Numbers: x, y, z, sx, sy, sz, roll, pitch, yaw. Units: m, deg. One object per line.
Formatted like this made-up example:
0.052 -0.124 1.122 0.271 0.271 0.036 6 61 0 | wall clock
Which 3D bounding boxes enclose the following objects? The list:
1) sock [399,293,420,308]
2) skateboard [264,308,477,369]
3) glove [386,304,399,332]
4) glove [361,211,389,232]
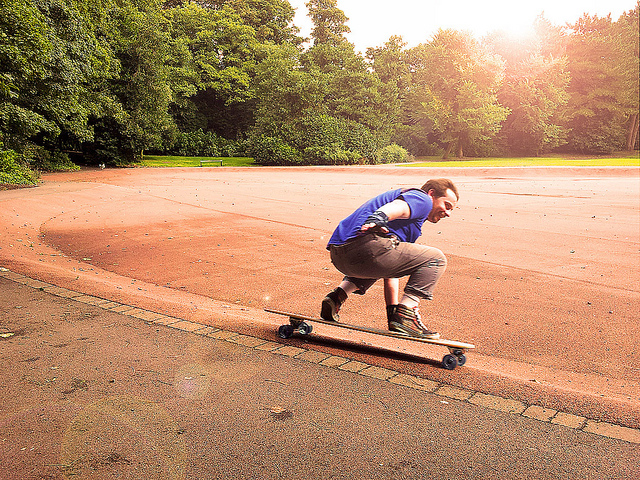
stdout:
0.871 0.587 4.540 0.162 0.117 0.132 14 -12 26 | sock
0.494 1.037 4.781 2.361 0.246 0.457 5 2 20 | skateboard
0.712 0.755 4.538 0.105 0.251 0.246 2 14 -1 | glove
0.514 -0.156 4.161 0.173 0.217 0.244 8 15 21 | glove
